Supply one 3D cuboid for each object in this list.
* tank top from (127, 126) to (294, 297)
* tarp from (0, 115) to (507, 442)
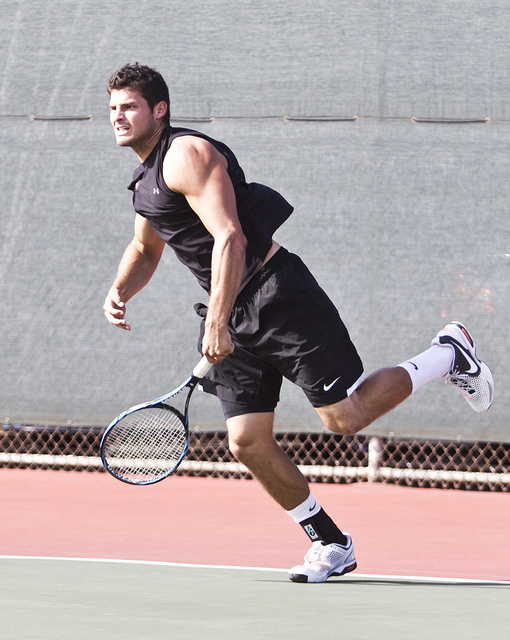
[{"bbox_3d":[-0.166,-0.377,4.067,0.566,0.603,0.398,-5,42,5],"label":"tank top"},{"bbox_3d":[0.098,-0.198,5.165,1.980,0.945,0.038,1,7,11],"label":"tarp"}]
